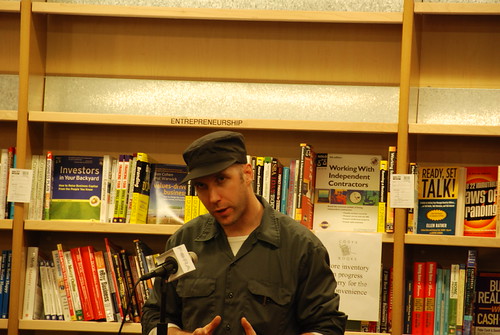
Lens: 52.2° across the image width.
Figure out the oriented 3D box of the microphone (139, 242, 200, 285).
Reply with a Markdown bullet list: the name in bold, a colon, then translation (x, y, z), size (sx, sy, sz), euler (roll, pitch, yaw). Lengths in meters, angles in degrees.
- **microphone**: translation (-0.363, 0.444, 2.347), size (0.267, 0.128, 0.135), euler (-24, 1, -35)

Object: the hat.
- **hat**: translation (-0.184, -0.070, 2.576), size (0.321, 0.219, 0.417), euler (-14, -3, 24)
